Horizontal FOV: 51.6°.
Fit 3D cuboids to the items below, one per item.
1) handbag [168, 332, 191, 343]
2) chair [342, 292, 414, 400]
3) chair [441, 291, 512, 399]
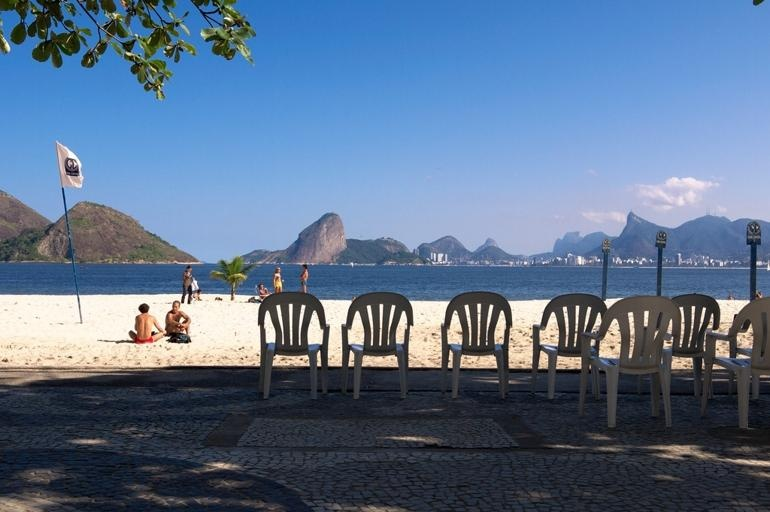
[{"bbox_3d":[-4.181,1.654,16.277,0.442,0.194,0.422,1,-5,-13],"label":"handbag"},{"bbox_3d":[-0.134,1.298,12.000,1.025,1.528,1.540,0,-4,-3],"label":"chair"},{"bbox_3d":[1.316,1.267,11.564,0.976,1.518,0.762,0,-4,3],"label":"chair"}]
